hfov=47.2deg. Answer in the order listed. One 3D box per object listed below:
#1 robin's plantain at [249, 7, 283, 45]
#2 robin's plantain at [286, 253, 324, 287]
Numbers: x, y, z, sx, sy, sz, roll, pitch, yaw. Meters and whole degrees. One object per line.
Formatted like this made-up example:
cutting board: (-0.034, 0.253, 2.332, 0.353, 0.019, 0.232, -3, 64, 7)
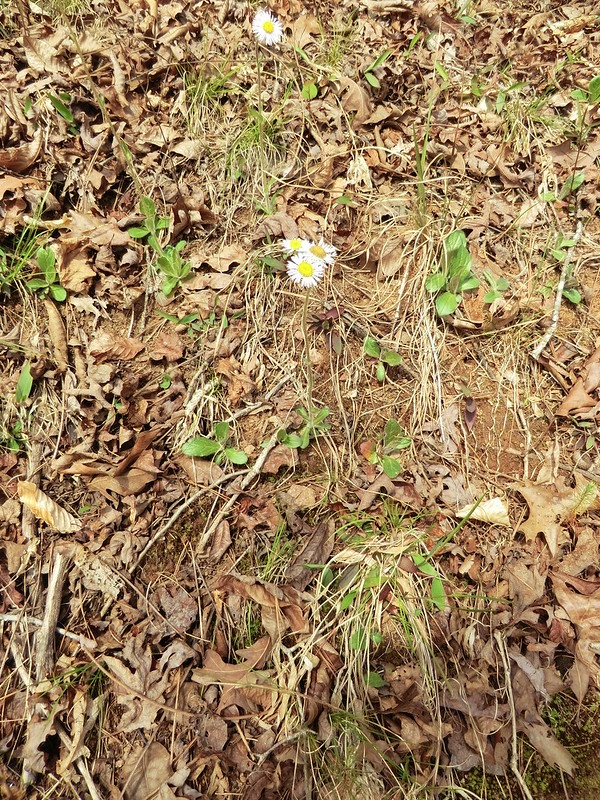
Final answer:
robin's plantain: (-0.114, -1.315, 2.458, 0.087, 0.137, 0.182, 4, 46, 0)
robin's plantain: (0.021, -0.379, 2.086, 0.112, 0.100, 0.109, -1, 47, -6)
